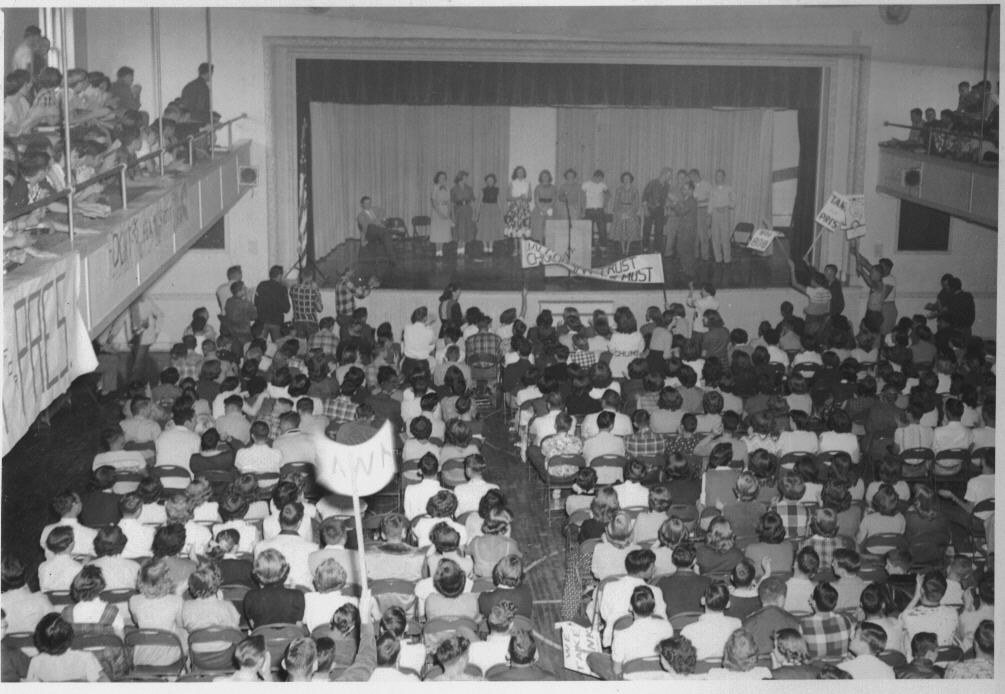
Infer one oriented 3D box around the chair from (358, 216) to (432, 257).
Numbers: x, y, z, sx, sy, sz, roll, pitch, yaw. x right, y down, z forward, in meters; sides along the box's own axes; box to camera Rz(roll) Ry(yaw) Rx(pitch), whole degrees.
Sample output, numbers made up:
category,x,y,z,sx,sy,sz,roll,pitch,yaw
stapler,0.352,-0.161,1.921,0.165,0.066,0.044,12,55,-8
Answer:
category,x,y,z,sx,sy,sz,roll,pitch,yaw
chair,-2.120,-2.197,19.993,1.281,0.783,0.840,2,19,-4
